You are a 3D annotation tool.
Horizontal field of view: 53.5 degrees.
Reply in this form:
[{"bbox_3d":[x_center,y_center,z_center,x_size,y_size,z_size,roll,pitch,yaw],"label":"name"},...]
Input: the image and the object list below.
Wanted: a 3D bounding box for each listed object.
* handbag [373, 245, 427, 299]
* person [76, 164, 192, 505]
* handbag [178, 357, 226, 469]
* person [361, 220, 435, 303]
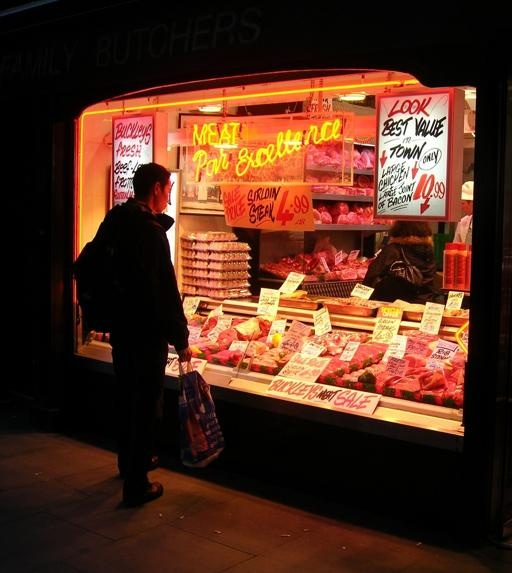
[{"bbox_3d":[1.342,-0.152,4.739,0.368,0.491,0.358,6,12,37],"label":"handbag"},{"bbox_3d":[-0.711,0.293,2.956,0.669,1.886,0.558,-2,7,-22],"label":"person"},{"bbox_3d":[-0.299,0.725,2.793,0.240,0.509,0.109,1,-2,-9],"label":"handbag"},{"bbox_3d":[1.334,-0.205,4.761,0.523,0.839,0.527,7,14,42],"label":"person"}]
